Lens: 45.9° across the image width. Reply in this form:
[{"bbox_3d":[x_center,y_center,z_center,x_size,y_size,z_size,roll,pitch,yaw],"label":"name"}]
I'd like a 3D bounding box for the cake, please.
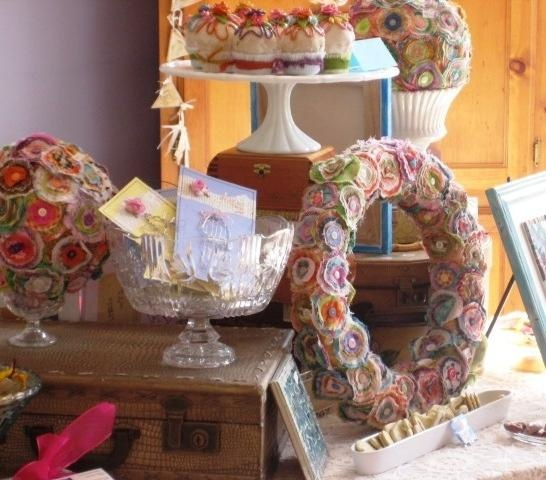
[{"bbox_3d":[-0.009,-0.370,1.175,0.310,0.140,0.160,3,13,4],"label":"cake"}]

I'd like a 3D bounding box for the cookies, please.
[{"bbox_3d":[0.256,0.304,1.085,0.077,0.033,0.322,13,16,43],"label":"cookies"}]
